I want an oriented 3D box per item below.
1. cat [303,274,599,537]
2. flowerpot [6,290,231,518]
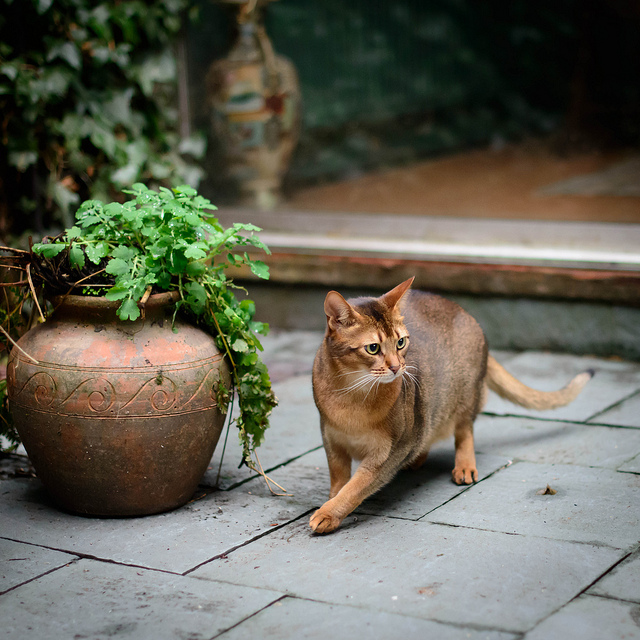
[{"bbox_3d":[0.351,0.294,3.775,0.698,0.994,1.358,10,24,24],"label":"cat"},{"bbox_3d":[-0.810,0.316,3.807,1.165,0.787,1.025,5,6,39],"label":"flowerpot"}]
